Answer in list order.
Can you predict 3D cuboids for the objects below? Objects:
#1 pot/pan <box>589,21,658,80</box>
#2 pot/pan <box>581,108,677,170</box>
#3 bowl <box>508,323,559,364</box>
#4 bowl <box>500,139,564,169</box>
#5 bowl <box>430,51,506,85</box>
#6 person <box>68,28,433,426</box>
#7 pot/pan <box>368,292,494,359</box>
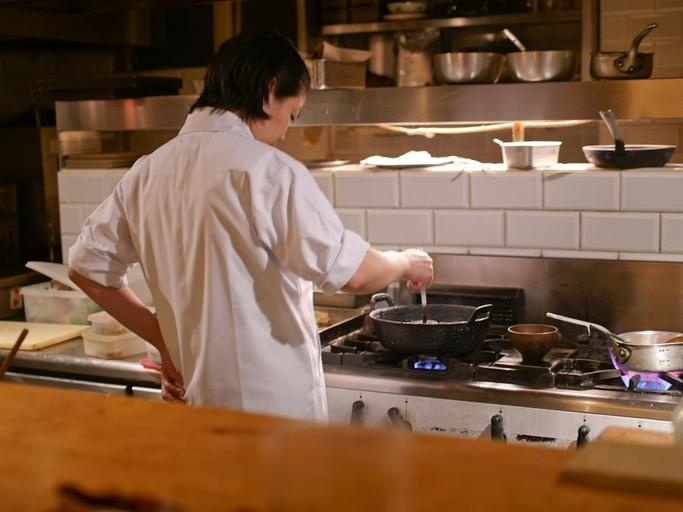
[{"bbox_3d":[0.863,-0.617,2.251,0.184,0.139,0.226,3,9,18],"label":"pot/pan"},{"bbox_3d":[0.913,-0.360,2.384,0.195,0.108,0.266,3,3,35],"label":"pot/pan"},{"bbox_3d":[0.568,0.262,2.171,0.120,0.078,0.121,0,-3,0],"label":"bowl"},{"bbox_3d":[0.666,-0.347,2.554,0.113,0.058,0.162,-3,4,-32],"label":"bowl"},{"bbox_3d":[0.431,-0.635,2.581,0.288,0.110,0.283,-1,0,0],"label":"bowl"},{"bbox_3d":[-0.278,-0.052,1.732,0.780,0.909,0.284,3,9,21],"label":"person"},{"bbox_3d":[0.285,0.164,2.137,0.236,0.097,0.254,-3,2,-32],"label":"pot/pan"}]
